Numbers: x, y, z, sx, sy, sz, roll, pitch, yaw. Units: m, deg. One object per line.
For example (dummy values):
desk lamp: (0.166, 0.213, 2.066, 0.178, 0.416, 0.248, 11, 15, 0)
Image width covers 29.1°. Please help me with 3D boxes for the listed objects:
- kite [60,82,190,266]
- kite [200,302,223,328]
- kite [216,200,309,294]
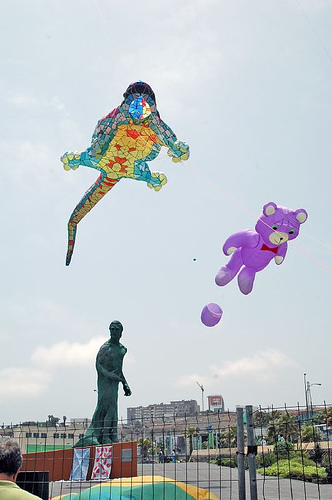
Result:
kite: (-1.366, -1.865, 14.828, 2.438, 1.223, 4.443, 20, -61, -24)
kite: (0.951, 1.388, 13.676, 0.450, 0.473, 0.243, -11, -25, 27)
kite: (2.025, 0.000, 13.671, 1.073, 1.575, 1.716, 14, -25, -29)
